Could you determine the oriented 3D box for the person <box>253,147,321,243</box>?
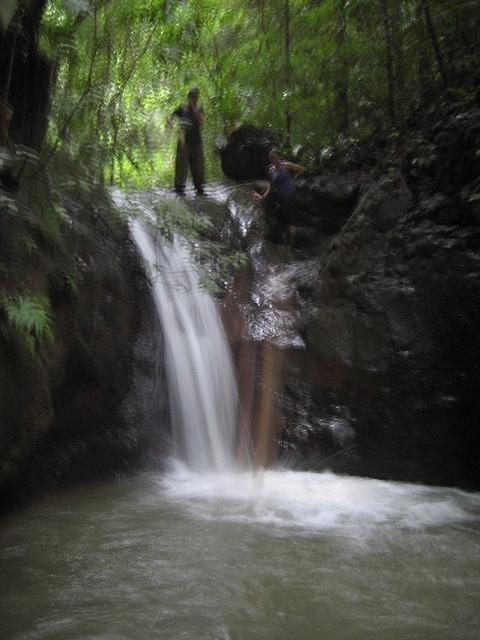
[{"bbox_3d":[0.675,-1.988,8.770,0.477,1.412,1.094,1,2,-41],"label":"person"}]
